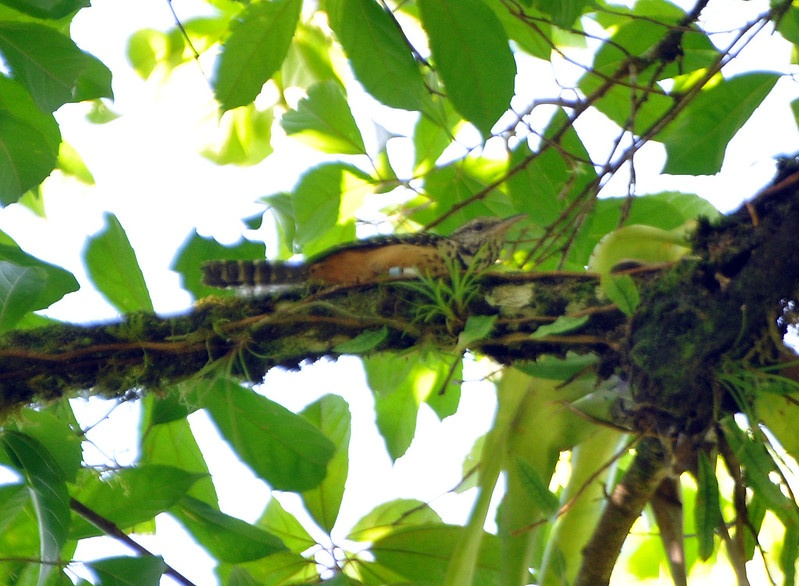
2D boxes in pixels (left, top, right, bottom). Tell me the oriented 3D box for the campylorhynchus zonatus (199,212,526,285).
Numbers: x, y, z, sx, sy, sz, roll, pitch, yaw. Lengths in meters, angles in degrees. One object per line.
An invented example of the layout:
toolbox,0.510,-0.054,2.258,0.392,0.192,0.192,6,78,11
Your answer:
campylorhynchus zonatus,-0.092,-0.114,3.246,0.556,0.226,0.157,1,-70,-22
